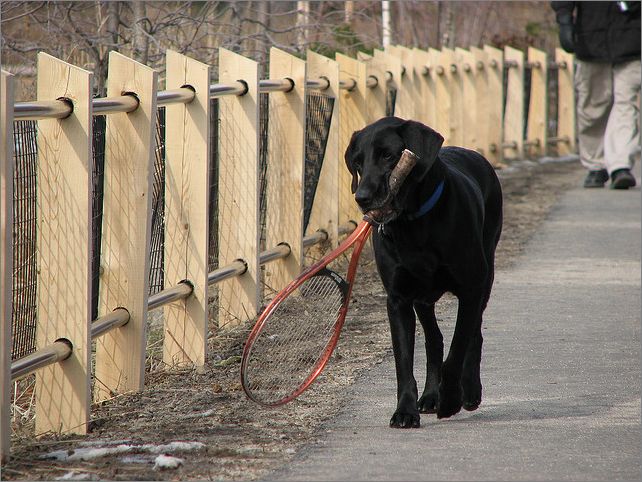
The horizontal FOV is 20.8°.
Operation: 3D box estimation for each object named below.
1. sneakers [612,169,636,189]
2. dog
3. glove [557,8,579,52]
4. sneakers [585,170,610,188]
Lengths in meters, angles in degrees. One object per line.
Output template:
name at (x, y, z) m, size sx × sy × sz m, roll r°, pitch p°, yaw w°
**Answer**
sneakers at (3.240, -0.663, 18.787) m, size 0.253 × 0.254 × 0.413 m, roll 0°, pitch 8°, yaw 9°
dog at (0.827, 0.214, 13.136) m, size 1.354 × 2.307 × 0.671 m, roll -6°, pitch 8°, yaw -35°
glove at (2.615, -2.234, 18.713) m, size 0.102 × 0.390 × 0.269 m, roll 2°, pitch -4°, yaw -3°
sneakers at (3.023, -0.675, 19.257) m, size 0.121 × 0.150 × 0.330 m, roll 1°, pitch 8°, yaw 12°
